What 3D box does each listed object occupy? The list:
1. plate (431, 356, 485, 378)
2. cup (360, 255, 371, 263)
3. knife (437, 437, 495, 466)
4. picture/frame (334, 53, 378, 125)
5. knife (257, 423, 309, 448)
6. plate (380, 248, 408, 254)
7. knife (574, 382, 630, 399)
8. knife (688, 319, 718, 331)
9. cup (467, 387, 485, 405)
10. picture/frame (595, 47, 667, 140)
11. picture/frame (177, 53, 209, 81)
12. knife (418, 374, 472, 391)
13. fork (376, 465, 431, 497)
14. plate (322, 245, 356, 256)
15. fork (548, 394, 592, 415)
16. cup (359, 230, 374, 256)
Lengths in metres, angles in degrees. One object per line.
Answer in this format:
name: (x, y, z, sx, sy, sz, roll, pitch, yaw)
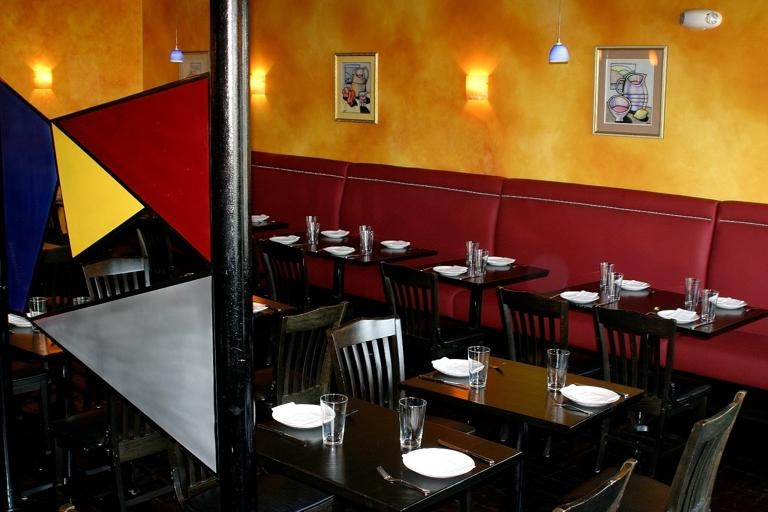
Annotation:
plate: (0.367, 0.550, 3.126, 0.140, 0.035, 0.133, 6, 8, 44)
cup: (-0.151, 0.027, 5.213, 0.062, 0.070, 0.069, 0, 4, -18)
knife: (0.294, 0.726, 2.367, 0.025, 0.011, 0.183, -5, 8, -34)
picture/frame: (-0.293, -1.869, 7.167, 0.697, 0.885, 0.066, 12, 17, 38)
knife: (-0.382, 0.694, 2.466, 0.038, 0.025, 0.281, -16, 18, -42)
plate: (0.085, -0.029, 5.469, 0.226, 0.012, 0.285, 3, 10, 4)
knife: (0.985, 0.624, 2.960, 0.245, 0.028, 0.029, 4, 6, 21)
knife: (1.871, 0.400, 3.805, 0.068, 0.012, 0.259, 3, 4, 39)
cup: (0.415, 0.631, 2.874, 0.048, 0.057, 0.048, 0, 7, 0)
picture/frame: (2.094, -1.392, 5.449, 0.727, 0.924, 0.039, 8, 13, 40)
picture/frame: (-2.572, -2.602, 8.706, 0.280, 0.336, 0.921, -3, 12, -25)
knife: (0.285, 0.599, 3.016, 0.244, 0.028, 0.026, 10, 25, 19)
fork: (0.066, 0.762, 2.163, 0.029, 0.026, 0.167, -10, 15, -40)
plate: (-0.370, -0.036, 5.371, 0.263, 0.044, 0.236, 1, 10, -3)
fork: (0.798, 0.656, 2.808, 0.052, 0.009, 0.197, -11, 11, -29)
cup: (-0.148, -0.131, 5.456, 0.113, 0.205, 0.333, 1, 10, -2)
